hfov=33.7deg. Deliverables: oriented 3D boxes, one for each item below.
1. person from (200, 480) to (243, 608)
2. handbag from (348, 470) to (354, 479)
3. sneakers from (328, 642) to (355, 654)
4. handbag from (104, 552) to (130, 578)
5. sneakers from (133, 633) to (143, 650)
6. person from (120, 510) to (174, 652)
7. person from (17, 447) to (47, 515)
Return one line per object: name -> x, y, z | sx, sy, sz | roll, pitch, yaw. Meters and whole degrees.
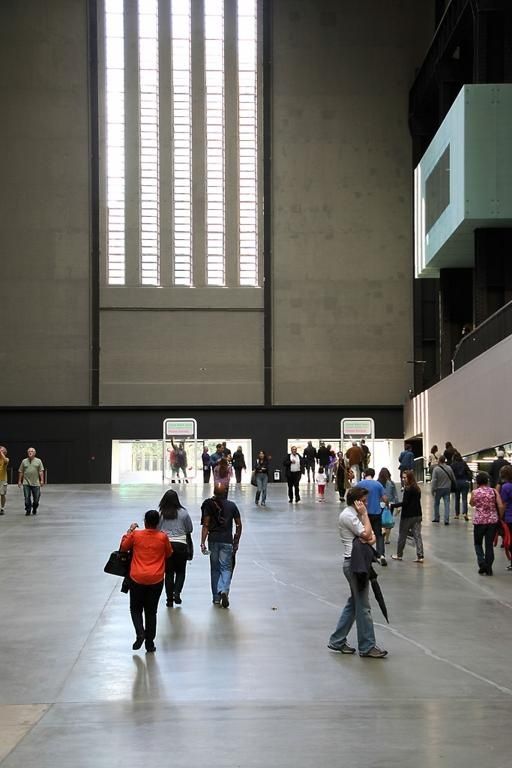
person -> -0.428, 1.881, 9.878 | 0.420, 1.395, 0.697 | -2, -3, 10
handbag -> 2.448, 2.348, 21.786 | 0.149, 0.258, 0.383 | -4, 14, 5
sneakers -> 0.756, 2.316, 7.344 | 0.201, 0.136, 0.089 | 8, 4, 5
handbag -> -1.269, 1.624, 7.612 | 0.211, 0.242, 0.408 | 0, -4, -27
sneakers -> -1.039, 2.294, 7.478 | 0.092, 0.133, 0.256 | -1, -4, -7
person -> -0.992, 1.770, 7.633 | 0.453, 1.196, 0.670 | -1, -3, -11
person -> -5.710, 2.456, 21.511 | 0.516, 1.717, 0.518 | -4, 17, -28
